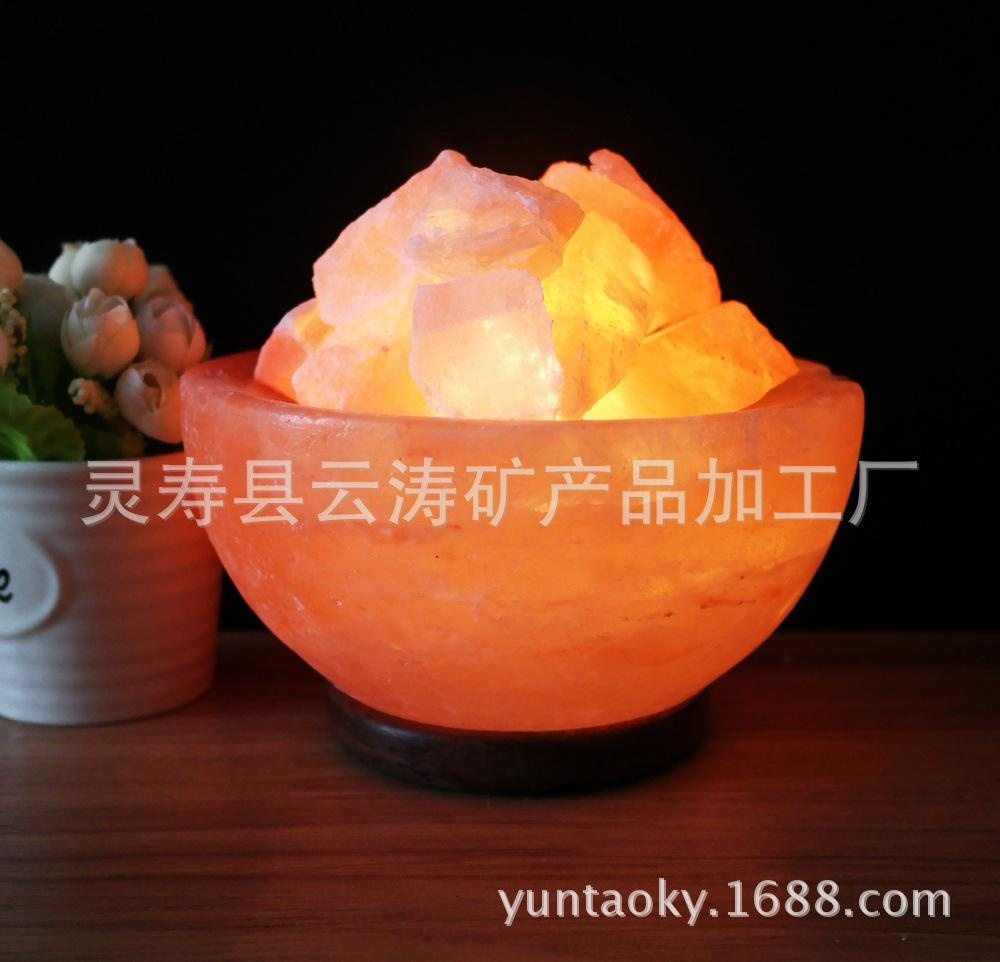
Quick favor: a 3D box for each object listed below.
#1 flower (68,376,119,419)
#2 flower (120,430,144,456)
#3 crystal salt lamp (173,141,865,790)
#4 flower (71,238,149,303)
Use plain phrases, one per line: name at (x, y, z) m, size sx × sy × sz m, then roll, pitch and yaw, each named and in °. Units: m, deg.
flower at (-0.293, -0.060, 0.971) m, size 0.013 × 0.036 × 0.023 m, roll -2°, pitch 58°, yaw 36°
flower at (-0.276, -0.028, 1.006) m, size 0.017 × 0.012 × 0.018 m, roll -1°, pitch 8°, yaw -14°
crystal salt lamp at (0.012, 0.003, 0.958) m, size 0.476 × 0.370 × 0.450 m, roll -3°, pitch 6°, yaw -23°
flower at (-0.287, -0.158, 0.999) m, size 0.045 × 0.048 × 0.052 m, roll 8°, pitch 10°, yaw 34°
